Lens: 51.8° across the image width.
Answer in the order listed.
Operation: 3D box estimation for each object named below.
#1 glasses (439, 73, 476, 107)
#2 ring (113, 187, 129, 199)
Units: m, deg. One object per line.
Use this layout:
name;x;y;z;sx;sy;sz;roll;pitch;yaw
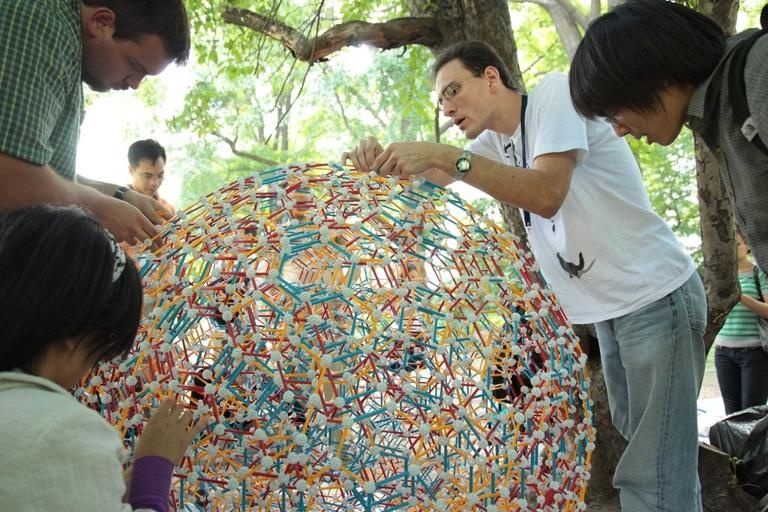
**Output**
glasses;0.395;-0.917;4.387;0.137;0.045;0.134;-31;6;-28
ring;-1.295;-0.312;3.894;0.058;0.080;0.034;6;-12;14
